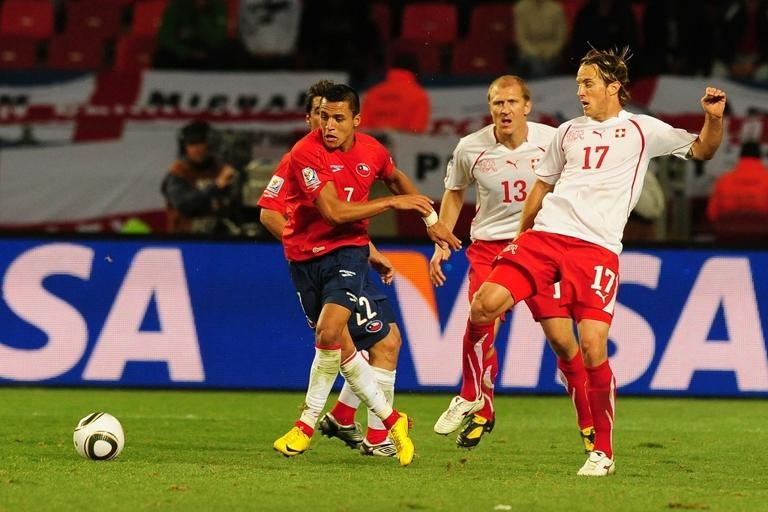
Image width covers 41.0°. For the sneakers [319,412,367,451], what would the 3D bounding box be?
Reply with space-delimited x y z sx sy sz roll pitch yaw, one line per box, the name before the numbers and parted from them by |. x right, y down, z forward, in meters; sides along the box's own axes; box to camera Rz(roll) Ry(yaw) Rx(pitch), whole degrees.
sneakers | -0.322 1.465 8.587 0.472 0.219 0.163 29 -5 -19

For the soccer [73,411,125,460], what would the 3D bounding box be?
soccer | -2.327 1.488 8.373 0.429 0.430 0.416 0 13 -20

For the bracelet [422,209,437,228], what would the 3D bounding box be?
bracelet | 0.353 -0.303 8.408 0.106 0.119 0.136 -44 27 -9

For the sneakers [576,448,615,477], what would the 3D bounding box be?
sneakers | 1.639 1.616 7.999 0.299 0.147 0.151 0 -2 -43

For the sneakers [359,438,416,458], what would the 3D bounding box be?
sneakers | -0.001 1.606 8.585 0.397 0.178 0.131 1 -2 2

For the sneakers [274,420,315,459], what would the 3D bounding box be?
sneakers | -0.721 1.475 8.240 0.188 0.212 0.426 22 10 26

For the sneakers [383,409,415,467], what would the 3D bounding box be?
sneakers | 0.135 1.487 8.262 0.210 0.448 0.157 -1 -27 -41

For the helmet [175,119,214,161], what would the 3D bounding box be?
helmet | -1.953 -1.167 10.514 0.352 0.362 0.148 -1 8 -12
